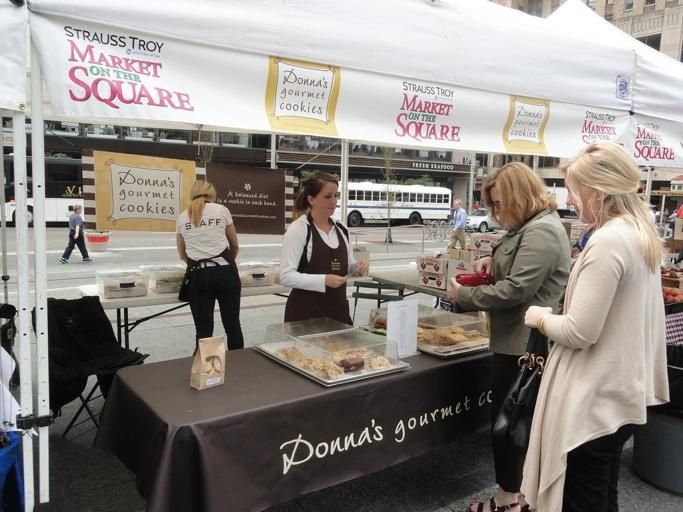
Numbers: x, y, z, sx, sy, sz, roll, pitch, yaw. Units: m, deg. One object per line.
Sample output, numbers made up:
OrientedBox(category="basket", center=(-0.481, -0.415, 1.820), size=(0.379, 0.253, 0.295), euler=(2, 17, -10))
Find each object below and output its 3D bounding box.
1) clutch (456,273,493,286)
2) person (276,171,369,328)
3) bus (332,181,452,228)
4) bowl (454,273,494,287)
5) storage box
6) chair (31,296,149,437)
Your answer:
OrientedBox(category="clutch", center=(0.866, 0.138, 2.995), size=(0.162, 0.065, 0.099), euler=(-2, 7, -19))
OrientedBox(category="person", center=(-0.154, -0.051, 3.661), size=(0.475, 1.210, 0.689), euler=(5, 11, 35))
OrientedBox(category="bus", center=(3.958, -3.610, 29.847), size=(10.721, 3.451, 3.087), euler=(0, 1, -30))
OrientedBox(category="bowl", center=(0.859, 0.151, 2.986), size=(0.145, 0.054, 0.113), euler=(-2, 6, -24))
OrientedBox(category="storage box", center=(1.220, 0.006, 4.434), size=(0.639, 0.444, 0.633), euler=(-11, 12, -35))
OrientedBox(category="chair", center=(-1.978, 0.875, 3.723), size=(0.809, 0.914, 0.863), euler=(-10, 16, -35))
